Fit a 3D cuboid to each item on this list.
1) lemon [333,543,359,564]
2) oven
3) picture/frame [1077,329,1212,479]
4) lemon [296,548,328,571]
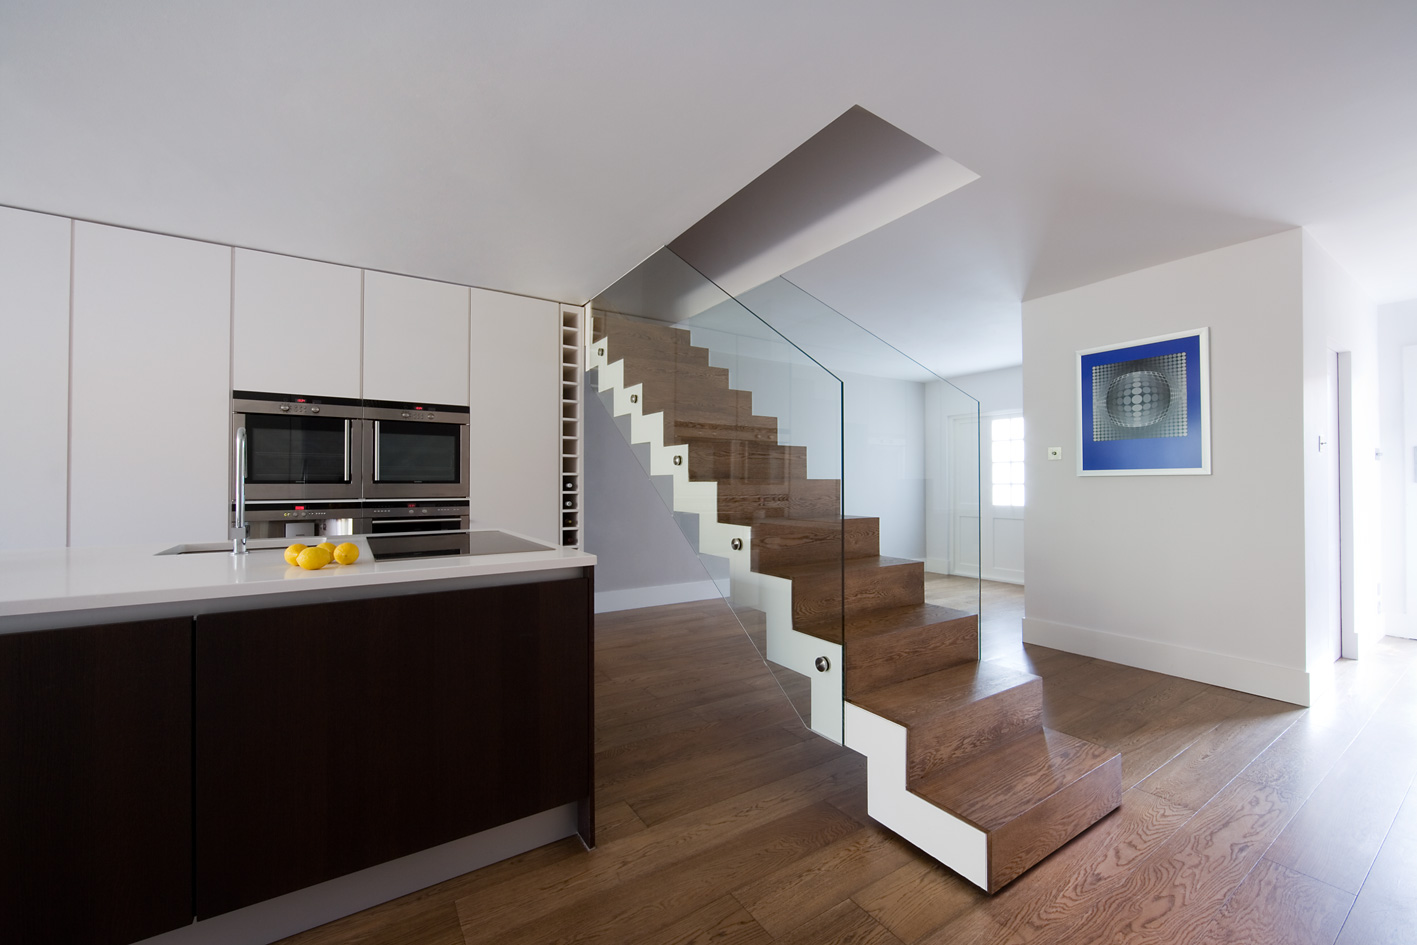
[{"bbox_3d":[-1.640,0.368,4.021,0.104,0.103,0.104,0,2,1],"label":"lemon"},{"bbox_3d":[-2.433,-0.032,5.817,0.958,0.874,0.361,-1,1,-31],"label":"oven"},{"bbox_3d":[2.968,-0.463,5.925,0.034,0.815,0.974,2,4,-41],"label":"picture/frame"},{"bbox_3d":[-1.762,0.384,3.932,0.137,0.097,0.105,-3,-1,-26],"label":"lemon"}]
